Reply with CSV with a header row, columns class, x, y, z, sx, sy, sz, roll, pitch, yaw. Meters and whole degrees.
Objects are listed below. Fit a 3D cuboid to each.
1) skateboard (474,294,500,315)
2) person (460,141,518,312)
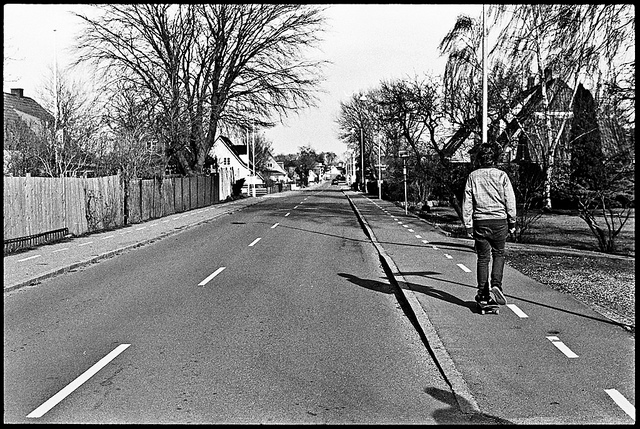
class,x,y,z,sx,sy,sz,roll,pitch,yaw
skateboard,2.980,1.606,8.885,0.207,0.186,0.366,2,11,-4
person,3.079,0.208,9.069,0.963,2.967,0.717,-4,6,-28
